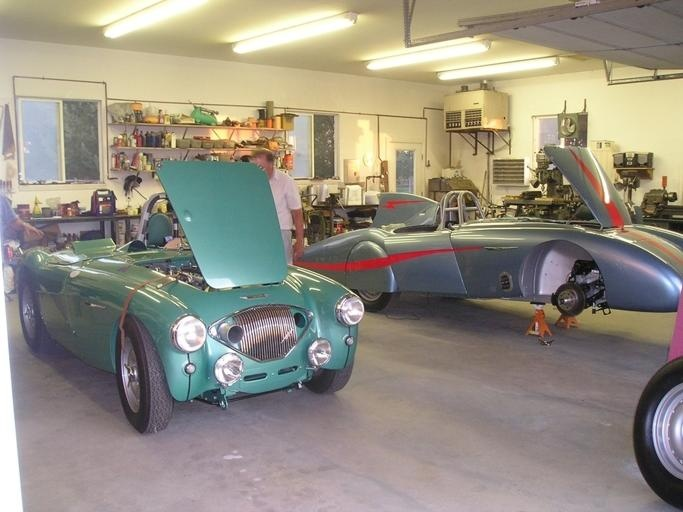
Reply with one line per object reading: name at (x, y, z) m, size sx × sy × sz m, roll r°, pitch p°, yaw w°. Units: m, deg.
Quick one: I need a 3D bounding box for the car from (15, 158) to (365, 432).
car at (-1.332, 0.138, 3.883) m, size 1.543 × 1.431 × 2.672 m, roll -3°, pitch 6°, yaw -42°

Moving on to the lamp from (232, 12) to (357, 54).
lamp at (-0.726, -3.626, 8.469) m, size 2.386 × 0.197 × 0.336 m, roll -4°, pitch -21°, yaw 39°

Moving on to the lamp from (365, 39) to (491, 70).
lamp at (1.705, -4.093, 10.161) m, size 0.558 × 0.180 × 2.802 m, roll -8°, pitch 12°, yaw -41°
